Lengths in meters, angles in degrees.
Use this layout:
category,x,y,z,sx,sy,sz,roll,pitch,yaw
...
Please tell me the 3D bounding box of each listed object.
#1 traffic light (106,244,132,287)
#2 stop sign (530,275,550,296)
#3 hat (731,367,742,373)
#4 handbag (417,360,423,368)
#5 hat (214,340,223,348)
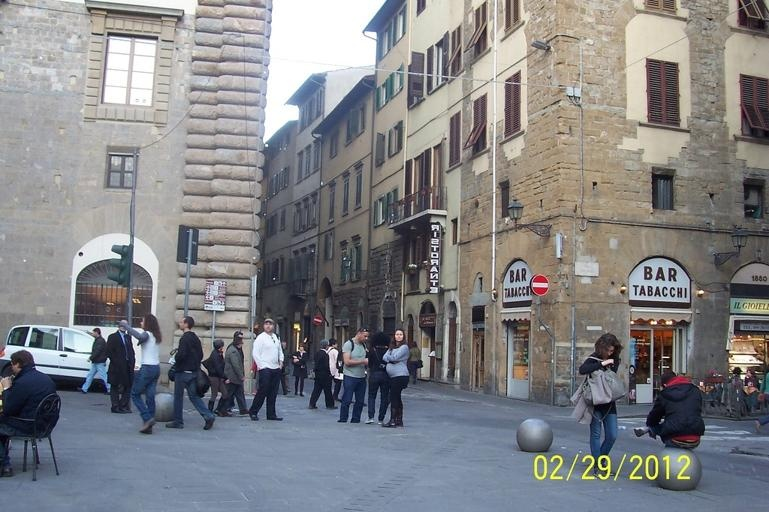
category,x,y,z,sx,sy,sz,roll,pitch,yaw
traffic light,-6.984,0.262,21.838,0.568,1.094,0.853,1,1,-17
stop sign,5.519,1.037,29.175,0.775,0.790,0.128,0,-5,-35
hat,13.097,4.237,30.697,0.242,0.071,0.267,1,8,32
handbag,1.638,4.842,37.245,0.284,0.451,0.345,0,-17,16
hat,-4.364,2.306,21.876,0.189,0.239,0.251,6,15,24
